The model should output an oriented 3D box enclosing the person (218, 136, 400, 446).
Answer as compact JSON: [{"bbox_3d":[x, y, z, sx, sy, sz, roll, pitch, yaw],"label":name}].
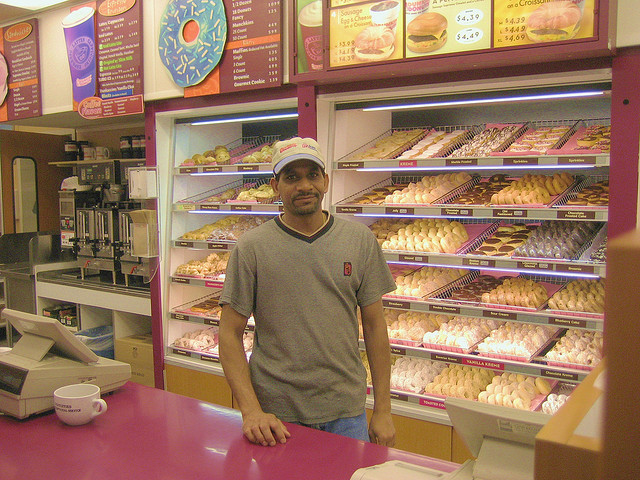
[{"bbox_3d":[-0.035,0.240,2.170,0.849,1.366,0.615,-7,13,-22],"label":"person"}]

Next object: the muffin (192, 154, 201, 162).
[{"bbox_3d":[-1.153,-0.762,4.463,0.081,0.065,0.110,-7,14,-23],"label":"muffin"}]

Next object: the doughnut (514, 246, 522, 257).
[{"bbox_3d":[1.303,0.074,3.136,0.060,0.050,0.089,3,26,18],"label":"doughnut"}]

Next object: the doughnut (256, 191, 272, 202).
[{"bbox_3d":[-0.496,-0.375,4.160,0.085,0.050,0.088,-2,10,-3],"label":"doughnut"}]

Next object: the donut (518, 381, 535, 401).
[{"bbox_3d":[1.405,1.012,3.218,0.030,0.092,0.091,-42,-10,22],"label":"donut"}]

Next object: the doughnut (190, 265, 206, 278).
[{"bbox_3d":[-1.093,0.280,4.299,0.177,0.070,0.075,9,16,39],"label":"doughnut"}]

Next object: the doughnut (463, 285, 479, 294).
[{"bbox_3d":[1.103,0.355,3.484,0.105,0.013,0.155,-4,13,-8],"label":"doughnut"}]

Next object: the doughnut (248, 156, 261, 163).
[{"bbox_3d":[-0.579,-0.704,4.181,0.068,0.045,0.124,-14,17,-43],"label":"doughnut"}]

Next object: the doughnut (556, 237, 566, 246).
[{"bbox_3d":[1.574,0.011,3.113,0.042,0.012,0.043,-27,34,-5],"label":"doughnut"}]

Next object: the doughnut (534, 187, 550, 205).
[{"bbox_3d":[1.489,-0.286,3.170,0.035,0.110,0.105,-20,-42,36],"label":"doughnut"}]

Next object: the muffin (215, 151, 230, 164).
[{"bbox_3d":[-0.912,-0.766,4.442,0.107,0.113,0.034,37,-9,9],"label":"muffin"}]

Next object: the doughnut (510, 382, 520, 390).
[{"bbox_3d":[1.333,0.986,3.262,0.053,0.016,0.085,4,14,27],"label":"doughnut"}]

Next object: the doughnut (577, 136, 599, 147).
[{"bbox_3d":[1.690,-0.615,3.016,0.131,0.054,0.117,-14,17,-43],"label":"doughnut"}]

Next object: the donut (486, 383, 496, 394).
[{"bbox_3d":[1.175,1.016,3.284,0.053,0.052,0.054,9,-10,-15],"label":"donut"}]

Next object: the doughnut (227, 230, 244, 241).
[{"bbox_3d":[-0.771,-0.039,4.298,0.112,0.036,0.110,0,26,42],"label":"doughnut"}]

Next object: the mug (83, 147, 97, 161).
[{"bbox_3d":[-2.919,-1.085,6.022,0.129,0.144,0.480,-8,14,-26],"label":"mug"}]

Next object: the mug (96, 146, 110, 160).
[{"bbox_3d":[-2.584,-1.025,5.651,0.110,0.180,0.194,0,5,-1],"label":"mug"}]

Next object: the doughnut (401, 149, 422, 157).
[{"bbox_3d":[0.678,-0.636,3.513,0.107,0.047,0.173,-7,14,-22],"label":"doughnut"}]

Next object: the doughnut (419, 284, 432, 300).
[{"bbox_3d":[0.757,0.371,3.444,0.091,0.062,0.134,4,14,25],"label":"doughnut"}]

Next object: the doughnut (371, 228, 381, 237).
[{"bbox_3d":[0.438,-0.065,3.789,0.106,0.043,0.136,-4,4,30],"label":"doughnut"}]

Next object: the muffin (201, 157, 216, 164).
[{"bbox_3d":[-1.033,-0.725,4.403,0.081,0.051,0.066,-8,6,-26],"label":"muffin"}]

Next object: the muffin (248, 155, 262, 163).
[{"bbox_3d":[-0.566,-0.701,4.172,0.081,0.030,0.092,-3,35,3],"label":"muffin"}]

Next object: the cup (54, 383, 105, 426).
[{"bbox_3d":[-1.024,0.705,2.010,0.208,0.143,0.176,2,-2,39],"label":"cup"}]

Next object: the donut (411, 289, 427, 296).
[{"bbox_3d":[0.704,0.368,3.435,0.058,0.032,0.060,-3,7,-28],"label":"donut"}]

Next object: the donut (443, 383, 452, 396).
[{"bbox_3d":[0.885,1.034,3.305,0.021,0.065,0.063,15,-12,-32],"label":"donut"}]

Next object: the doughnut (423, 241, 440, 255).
[{"bbox_3d":[0.793,0.049,3.400,0.113,0.067,0.052,1,13,12],"label":"doughnut"}]
